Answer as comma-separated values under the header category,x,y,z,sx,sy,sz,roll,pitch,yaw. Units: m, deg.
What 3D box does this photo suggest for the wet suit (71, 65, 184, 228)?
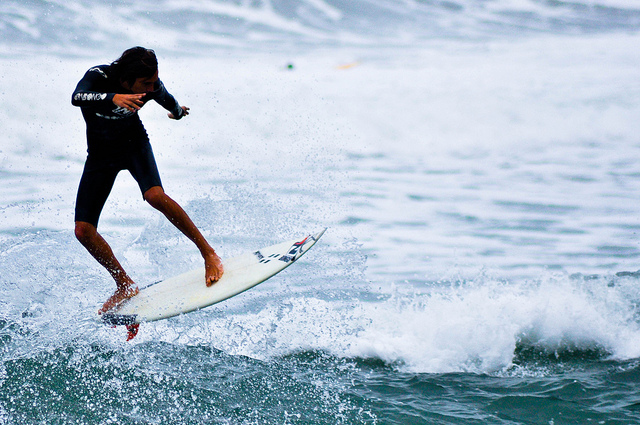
category,x,y,z,sx,sy,sz,roll,pitch,yaw
wet suit,-2.762,-0.904,14.803,1.134,2.098,0.944,-3,27,-9
